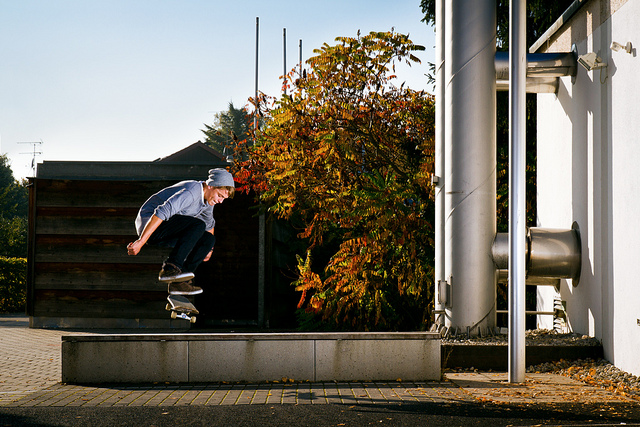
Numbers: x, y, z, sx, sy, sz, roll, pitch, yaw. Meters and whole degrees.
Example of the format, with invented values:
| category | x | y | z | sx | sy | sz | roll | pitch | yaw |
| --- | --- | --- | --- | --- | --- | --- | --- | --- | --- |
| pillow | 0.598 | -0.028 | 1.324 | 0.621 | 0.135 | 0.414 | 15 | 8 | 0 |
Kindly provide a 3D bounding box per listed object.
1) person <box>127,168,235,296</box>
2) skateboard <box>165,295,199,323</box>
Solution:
| category | x | y | z | sx | sy | sz | roll | pitch | yaw |
| --- | --- | --- | --- | --- | --- | --- | --- | --- | --- |
| person | -2.375 | 0.258 | 15.892 | 1.568 | 2.140 | 1.034 | 13 | -22 | -12 |
| skateboard | -2.352 | 1.640 | 15.980 | 0.420 | 0.236 | 0.788 | 11 | 9 | -13 |
